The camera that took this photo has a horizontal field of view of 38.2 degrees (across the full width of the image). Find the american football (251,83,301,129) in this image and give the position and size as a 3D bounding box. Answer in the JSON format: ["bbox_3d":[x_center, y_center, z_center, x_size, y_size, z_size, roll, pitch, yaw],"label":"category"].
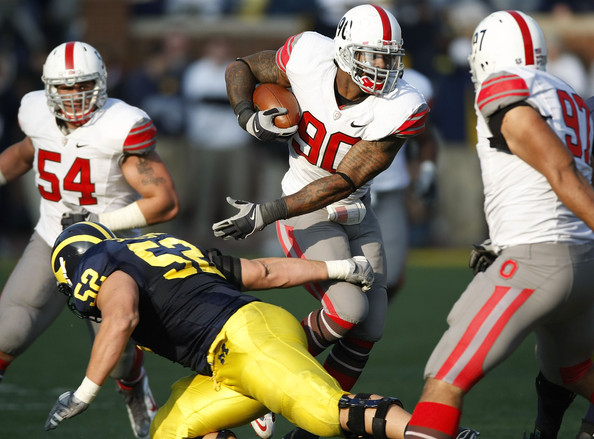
[{"bbox_3d":[-0.109,-0.649,4.725,0.184,0.183,0.303,-8,35,-30],"label":"american football"}]

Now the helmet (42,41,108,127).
[{"bbox_3d":[-1.259,-0.802,5.057,0.373,0.459,0.463,-6,16,-1],"label":"helmet"}]

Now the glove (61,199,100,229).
[{"bbox_3d":[-1.269,-0.046,4.900,0.193,0.110,0.145,14,-3,32],"label":"glove"}]

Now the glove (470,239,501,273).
[{"bbox_3d":[0.922,0.186,4.239,0.109,0.151,0.068,49,26,-4],"label":"glove"}]

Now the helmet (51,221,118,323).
[{"bbox_3d":[-1.086,0.320,4.393,0.313,0.513,0.572,1,18,-15],"label":"helmet"}]

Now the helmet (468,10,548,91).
[{"bbox_3d":[1.011,-0.823,4.167,0.304,0.428,0.409,-8,21,-28],"label":"helmet"}]

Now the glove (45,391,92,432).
[{"bbox_3d":[-1.079,0.899,4.098,0.228,0.074,0.133,-33,61,-7],"label":"glove"}]

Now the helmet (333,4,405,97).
[{"bbox_3d":[0.359,-0.925,4.634,0.357,0.384,0.462,-7,39,-23],"label":"helmet"}]

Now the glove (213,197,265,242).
[{"bbox_3d":[-0.309,0.013,4.572,0.264,0.264,0.288,3,18,-8],"label":"glove"}]
